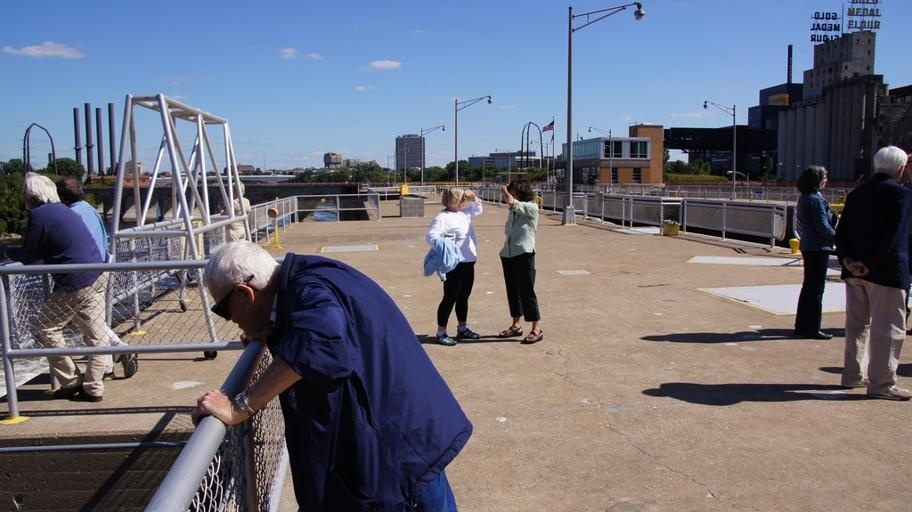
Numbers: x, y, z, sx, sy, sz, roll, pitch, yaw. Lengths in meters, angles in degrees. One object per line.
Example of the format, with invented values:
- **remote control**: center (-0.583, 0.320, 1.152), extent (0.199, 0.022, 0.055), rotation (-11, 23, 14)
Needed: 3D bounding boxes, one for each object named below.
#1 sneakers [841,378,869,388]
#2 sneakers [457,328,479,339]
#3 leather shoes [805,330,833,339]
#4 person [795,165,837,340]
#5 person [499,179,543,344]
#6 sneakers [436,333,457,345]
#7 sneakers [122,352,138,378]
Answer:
- **sneakers**: center (5.227, 1.652, 8.487), extent (0.345, 0.142, 0.122), rotation (-8, 4, -13)
- **sneakers**: center (0.199, 1.252, 10.553), extent (0.356, 0.159, 0.162), rotation (-3, 2, 1)
- **leather shoes**: center (5.729, 1.211, 10.258), extent (0.468, 0.192, 0.166), rotation (-1, -1, -6)
- **person**: center (5.656, -0.049, 10.186), extent (0.503, 2.648, 0.580), rotation (1, 11, 17)
- **person**: center (1.046, 0.049, 10.458), extent (0.681, 2.535, 0.983), rotation (-1, 10, 6)
- **sneakers**: center (-0.146, 1.320, 10.288), extent (0.317, 0.140, 0.145), rotation (-1, 6, 6)
- **sneakers**: center (-4.419, 1.452, 8.735), extent (0.194, 0.517, 0.239), rotation (0, 4, -30)
